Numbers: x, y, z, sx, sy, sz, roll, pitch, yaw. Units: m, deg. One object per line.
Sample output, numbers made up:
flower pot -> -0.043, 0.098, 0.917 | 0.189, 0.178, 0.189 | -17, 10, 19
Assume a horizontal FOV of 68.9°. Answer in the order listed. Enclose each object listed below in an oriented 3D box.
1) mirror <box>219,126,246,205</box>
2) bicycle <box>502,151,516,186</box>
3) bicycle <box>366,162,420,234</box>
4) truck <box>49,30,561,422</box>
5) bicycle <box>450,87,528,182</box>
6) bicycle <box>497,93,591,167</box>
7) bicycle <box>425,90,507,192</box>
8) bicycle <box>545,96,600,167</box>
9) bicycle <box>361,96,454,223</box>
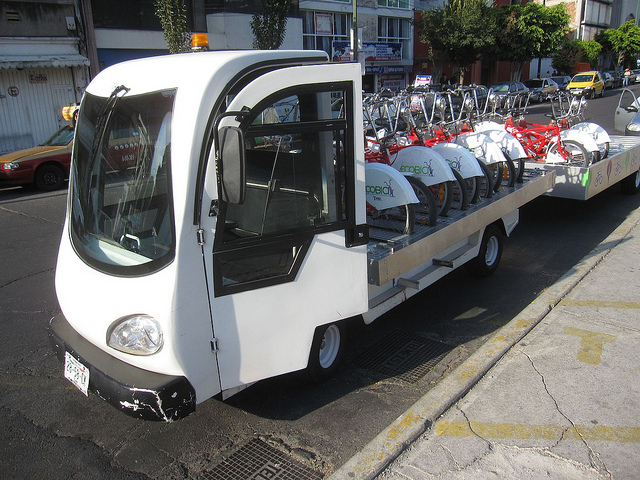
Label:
mirror -> -0.595, -0.522, 3.180 | 0.066, 0.694, 0.345 | -12, 21, -38
bicycle -> 2.813, -1.078, 6.960 | 0.218, 0.462, 0.497 | 8, 21, 22
bicycle -> 0.671, -0.484, 5.323 | 0.899, 0.775, 0.438 | 12, 21, 43
truck -> -0.293, -0.483, 4.690 | 2.000, 2.279, 4.233 | 13, 24, 38
bicycle -> 2.419, -1.628, 7.425 | 1.559, 1.141, 1.011 | 10, 16, 35
bicycle -> 4.162, -2.059, 9.036 | 0.976, 1.474, 2.109 | -10, 17, -29
bicycle -> 2.425, -1.662, 7.375 | 1.516, 1.703, 1.042 | 3, 22, 19
bicycle -> 4.525, -1.782, 8.538 | 0.620, 1.089, 0.936 | -16, 15, -43
bicycle -> 1.335, -0.943, 6.045 | 0.919, 1.078, 1.516 | -12, 16, -33
